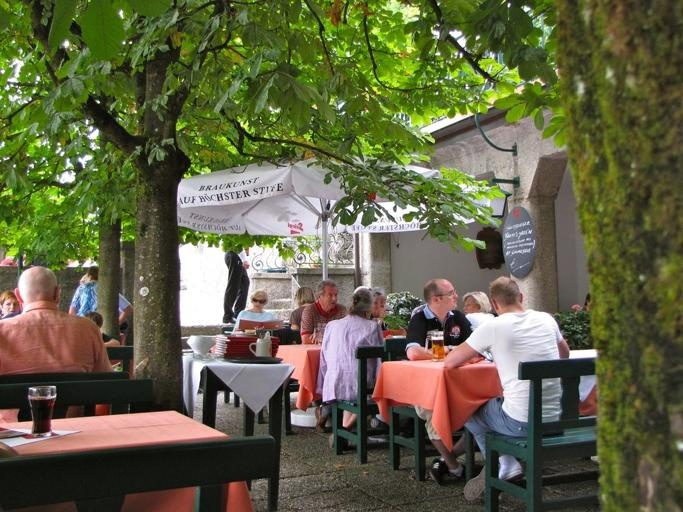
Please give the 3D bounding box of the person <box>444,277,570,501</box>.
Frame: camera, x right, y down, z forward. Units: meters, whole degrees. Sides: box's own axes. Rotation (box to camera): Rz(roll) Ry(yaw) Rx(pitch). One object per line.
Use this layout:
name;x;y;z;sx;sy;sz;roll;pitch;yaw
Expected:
person;1.108;0.822;4.240;0.569;1.453;0.854;10;-15;-25

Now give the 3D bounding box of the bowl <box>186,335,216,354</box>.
bowl;-1.070;0.693;5.329;0.259;0.149;0.256;1;-7;0

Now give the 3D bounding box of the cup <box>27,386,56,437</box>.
cup;-1.162;0.598;2.605;0.101;0.192;0.177;9;-15;-21

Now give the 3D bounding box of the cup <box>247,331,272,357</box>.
cup;-0.585;0.678;5.109;0.213;0.205;0.132;-1;-8;3

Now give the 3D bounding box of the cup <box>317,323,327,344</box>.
cup;-0.214;0.844;7.245;0.077;0.069;0.247;15;12;-12
